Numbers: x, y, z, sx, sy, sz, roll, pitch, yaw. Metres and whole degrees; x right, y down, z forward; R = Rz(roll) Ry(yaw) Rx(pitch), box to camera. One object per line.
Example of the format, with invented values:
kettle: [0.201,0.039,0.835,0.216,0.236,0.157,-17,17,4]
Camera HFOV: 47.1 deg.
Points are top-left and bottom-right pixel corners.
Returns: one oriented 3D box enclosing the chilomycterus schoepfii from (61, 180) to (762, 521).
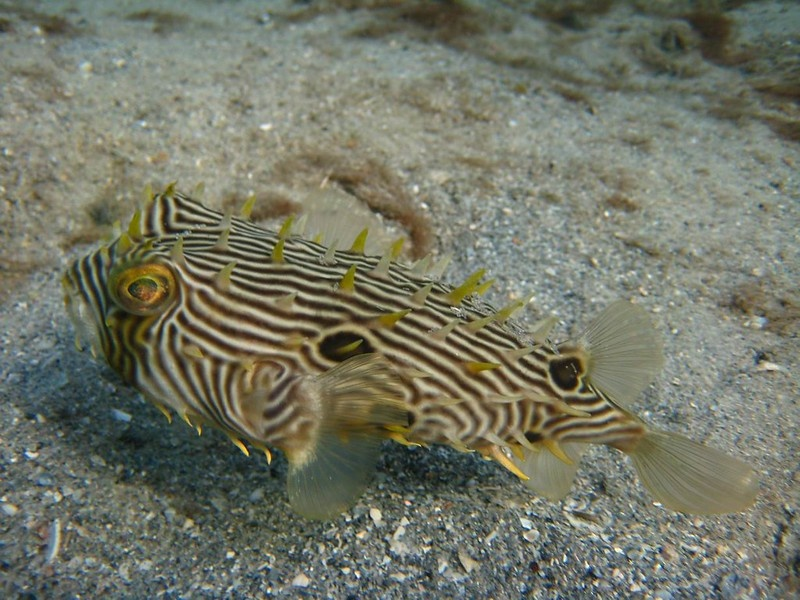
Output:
chilomycterus schoepfii: [0.071,0.384,4.681,3.562,1.104,1.171,15,-69,-5]
